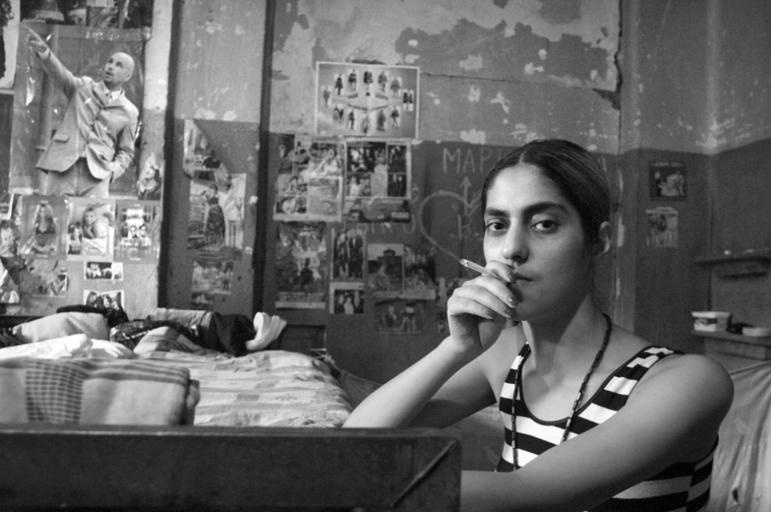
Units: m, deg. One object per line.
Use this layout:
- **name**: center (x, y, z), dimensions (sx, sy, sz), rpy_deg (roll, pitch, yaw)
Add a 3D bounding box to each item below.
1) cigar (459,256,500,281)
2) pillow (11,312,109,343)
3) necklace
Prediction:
- **cigar**: center (0.574, 0.081, 4.810), dimensions (0.280, 0.075, 0.051), rpy_deg (37, 30, 5)
- **pillow**: center (-2.397, 0.525, 5.712), dimensions (0.412, 0.125, 0.357), rpy_deg (-4, 6, -29)
- **necklace**: center (0.842, 0.671, 3.726), dimensions (0.150, 0.817, 0.416), rpy_deg (25, -12, -34)
